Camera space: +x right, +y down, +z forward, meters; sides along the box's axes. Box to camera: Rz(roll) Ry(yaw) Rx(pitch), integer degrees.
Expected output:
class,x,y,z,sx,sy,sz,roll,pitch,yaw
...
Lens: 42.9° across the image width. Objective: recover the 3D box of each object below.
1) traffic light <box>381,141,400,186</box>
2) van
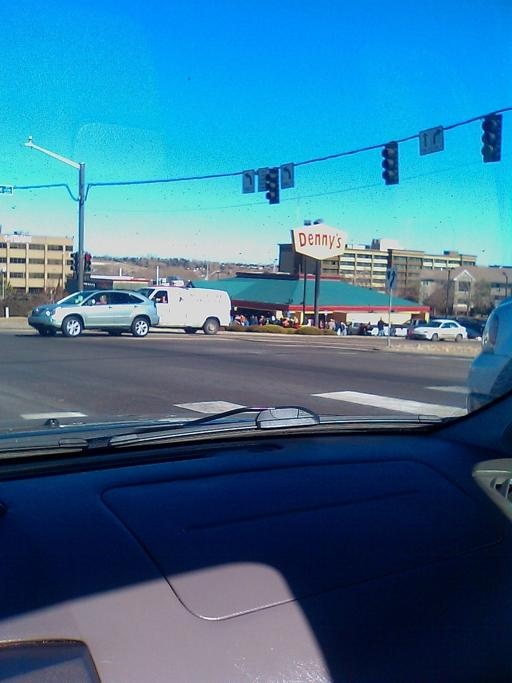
class,x,y,z,sx,sy,sz,roll,pitch,yaw
traffic light,1.369,-1.854,6.776,0.163,0.513,0.153,0,-18,10
van,-2.430,-1.186,24.623,2.929,1.315,1.495,4,-1,-36
